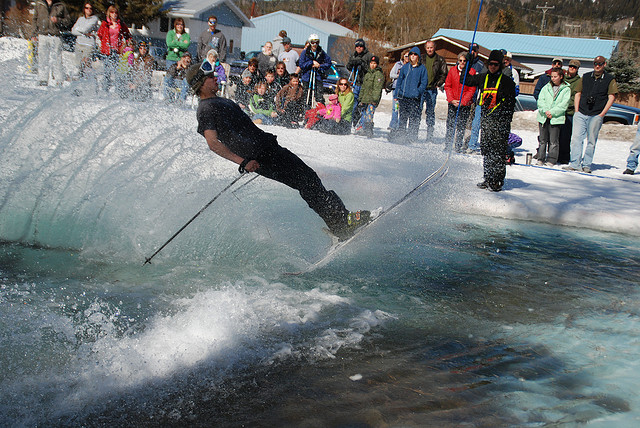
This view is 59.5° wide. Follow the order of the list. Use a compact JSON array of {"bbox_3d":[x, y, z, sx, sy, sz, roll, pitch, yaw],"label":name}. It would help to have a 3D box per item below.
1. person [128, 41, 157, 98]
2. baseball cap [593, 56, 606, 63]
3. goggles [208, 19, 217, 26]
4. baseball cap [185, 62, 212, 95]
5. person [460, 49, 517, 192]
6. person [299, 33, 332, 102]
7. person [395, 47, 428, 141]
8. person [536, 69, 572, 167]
[{"bbox_3d":[-3.639,-2.976,11.430,0.508,1.115,1.030,1,9,-17],"label":"person"},{"bbox_3d":[5.271,-2.911,10.529,0.172,0.144,0.333,7,10,25],"label":"baseball cap"},{"bbox_3d":[-2.431,-4.341,12.702,0.158,0.095,0.193,0,10,-7],"label":"goggles"},{"bbox_3d":[-1.382,-1.503,6.269,0.146,0.304,0.235,33,13,-20],"label":"baseball cap"},{"bbox_3d":[2.869,-1.533,9.288,0.605,2.290,0.423,10,11,35],"label":"person"},{"bbox_3d":[-0.096,-3.219,13.210,0.780,1.889,0.581,3,31,0],"label":"person"},{"bbox_3d":[1.977,-2.524,11.933,0.536,1.890,0.714,2,9,-11],"label":"person"},{"bbox_3d":[4.621,-1.900,11.121,0.404,1.871,0.675,-1,10,-27],"label":"person"}]
